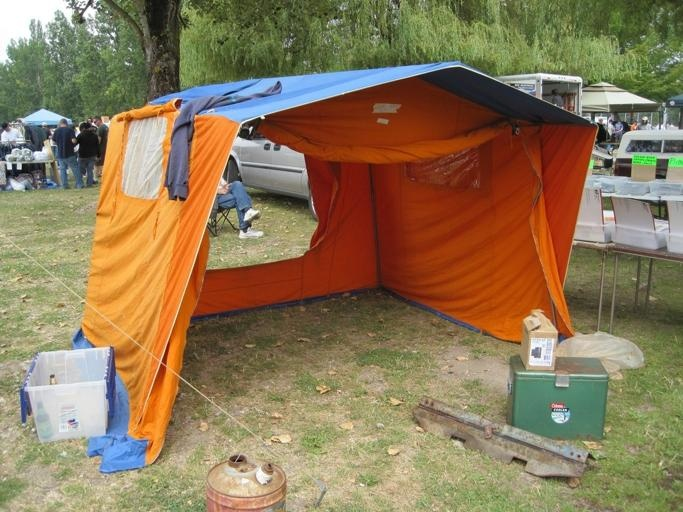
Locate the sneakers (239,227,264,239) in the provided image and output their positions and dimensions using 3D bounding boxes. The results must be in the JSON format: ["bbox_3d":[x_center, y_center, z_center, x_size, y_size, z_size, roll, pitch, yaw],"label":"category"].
[{"bbox_3d":[-1.629,-0.421,10.281,0.437,0.207,0.194,-2,14,-4],"label":"sneakers"}]

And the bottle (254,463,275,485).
[{"bbox_3d":[-0.477,1.346,3.532,0.103,0.118,0.103,16,-10,-29],"label":"bottle"}]

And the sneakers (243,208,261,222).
[{"bbox_3d":[-1.564,-0.736,10.029,0.332,0.176,0.159,-12,2,44],"label":"sneakers"}]

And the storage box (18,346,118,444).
[{"bbox_3d":[-2.215,1.185,5.053,0.834,0.476,1.031,-4,9,-11],"label":"storage box"}]

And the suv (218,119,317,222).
[{"bbox_3d":[-1.322,-1.885,12.433,2.696,1.392,1.497,28,28,36],"label":"suv"}]

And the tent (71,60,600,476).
[{"bbox_3d":[-0.205,-0.386,6.126,5.068,3.044,3.056,-8,14,-27],"label":"tent"}]

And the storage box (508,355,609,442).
[{"bbox_3d":[1.876,1.343,4.773,0.732,0.560,0.467,-6,-35,32],"label":"storage box"}]

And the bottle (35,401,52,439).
[{"bbox_3d":[-2.383,1.323,4.571,0.113,0.340,0.015,-4,12,-9],"label":"bottle"}]
